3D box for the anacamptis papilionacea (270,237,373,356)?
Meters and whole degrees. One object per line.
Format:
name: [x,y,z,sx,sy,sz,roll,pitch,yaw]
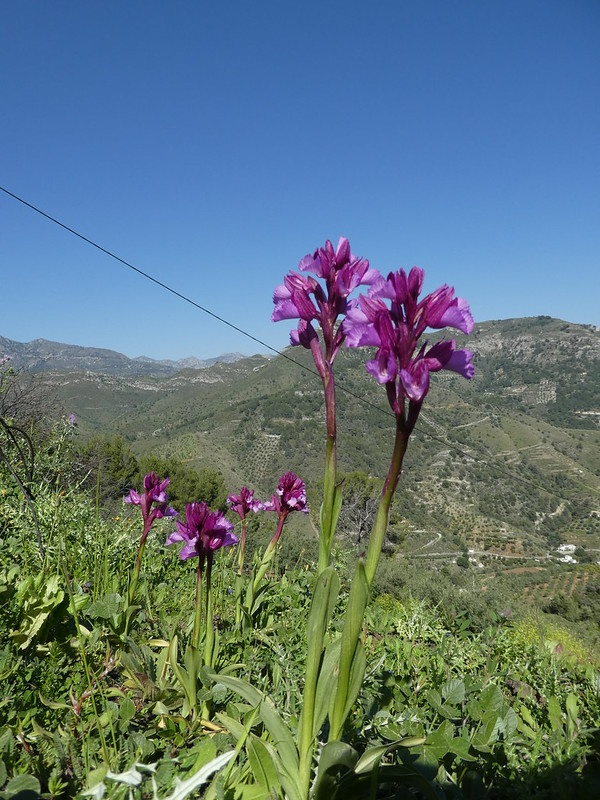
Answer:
anacamptis papilionacea: [0.054,-0.404,2.008,0.450,0.480,0.205,10,0,33]
